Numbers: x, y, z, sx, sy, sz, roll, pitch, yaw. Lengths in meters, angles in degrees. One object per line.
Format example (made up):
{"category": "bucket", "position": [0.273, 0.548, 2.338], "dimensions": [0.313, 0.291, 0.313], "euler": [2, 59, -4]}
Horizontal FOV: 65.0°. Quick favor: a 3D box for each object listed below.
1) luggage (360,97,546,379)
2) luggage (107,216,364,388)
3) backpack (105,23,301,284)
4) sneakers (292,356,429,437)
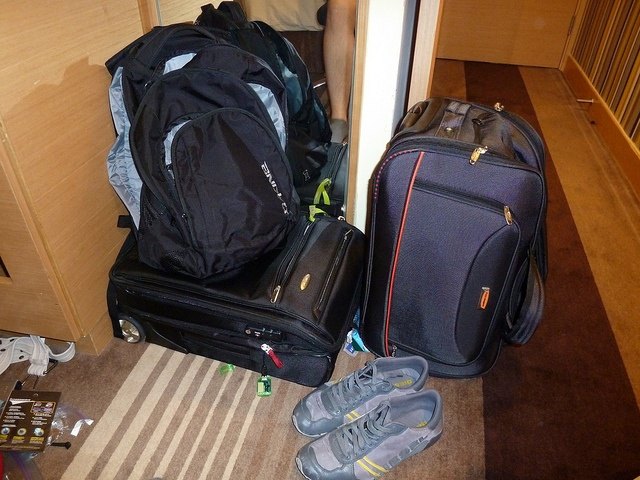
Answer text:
{"category": "luggage", "position": [0.360, -0.155, 1.887], "dimensions": [0.739, 1.001, 0.700], "euler": [7, 33, 15]}
{"category": "luggage", "position": [-0.269, 0.129, 1.806], "dimensions": [0.825, 0.343, 0.633], "euler": [10, 44, 9]}
{"category": "backpack", "position": [-0.397, -0.315, 1.591], "dimensions": [0.599, 0.783, 0.269], "euler": [-21, 13, -25]}
{"category": "sneakers", "position": [0.099, 0.460, 1.606], "dimensions": [0.511, 0.213, 0.189], "euler": [-18, 58, 1]}
